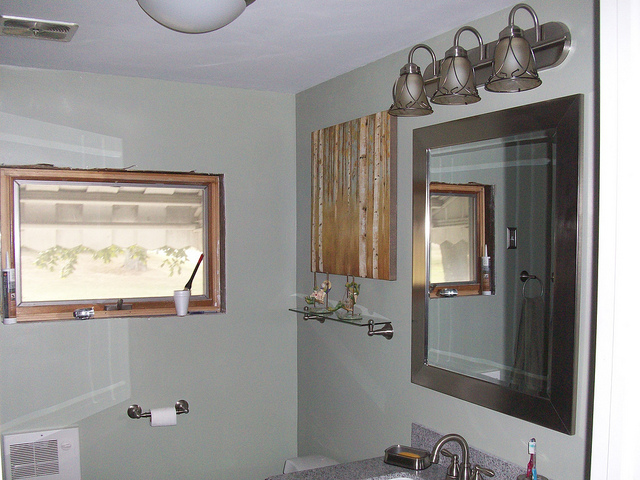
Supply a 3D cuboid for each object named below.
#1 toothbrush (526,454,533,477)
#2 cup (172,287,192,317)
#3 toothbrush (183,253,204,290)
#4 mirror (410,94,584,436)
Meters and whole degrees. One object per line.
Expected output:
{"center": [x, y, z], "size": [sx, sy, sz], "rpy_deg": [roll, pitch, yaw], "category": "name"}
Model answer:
{"center": [0.716, 0.771, 1.799], "size": [0.012, 0.073, 0.041], "rpy_deg": [-3, 0, -7], "category": "toothbrush"}
{"center": [-0.767, 0.359, 3.028], "size": [0.124, 0.168, 0.139], "rpy_deg": [1, -3, 8], "category": "cup"}
{"center": [-0.733, 0.195, 3.105], "size": [0.070, 0.233, 0.027], "rpy_deg": [6, -26, 47], "category": "toothbrush"}
{"center": [0.653, 0.084, 2.060], "size": [0.070, 1.116, 0.784], "rpy_deg": [-3, 0, -37], "category": "mirror"}
